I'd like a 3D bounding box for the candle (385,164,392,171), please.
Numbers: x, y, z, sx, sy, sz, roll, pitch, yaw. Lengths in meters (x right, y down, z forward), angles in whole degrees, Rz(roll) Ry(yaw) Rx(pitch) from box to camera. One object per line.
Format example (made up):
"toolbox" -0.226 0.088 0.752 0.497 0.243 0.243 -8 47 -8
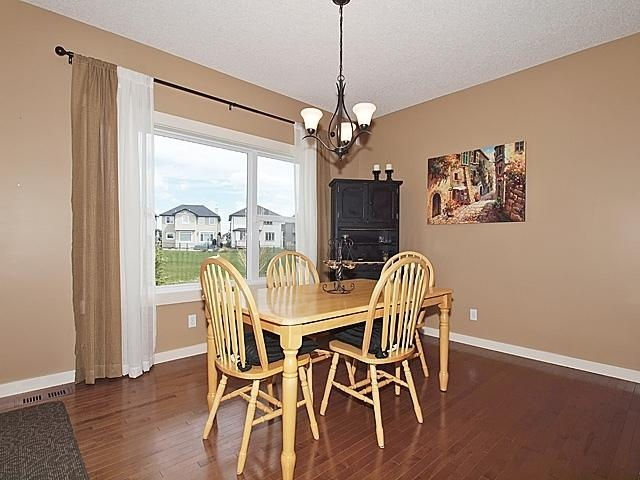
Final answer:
"candle" 0.905 -0.966 5.673 0.073 0.103 0.212 -2 2 1
